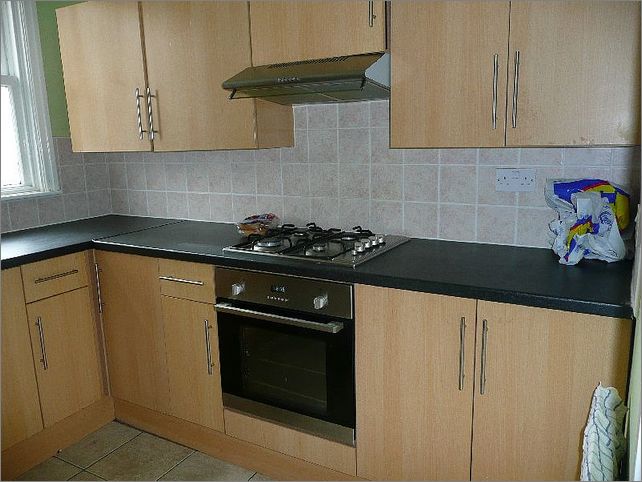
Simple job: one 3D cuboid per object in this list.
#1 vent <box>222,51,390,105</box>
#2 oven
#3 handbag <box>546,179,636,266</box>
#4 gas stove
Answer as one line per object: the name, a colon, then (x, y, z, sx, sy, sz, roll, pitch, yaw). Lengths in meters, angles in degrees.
vent: (-0.024, -0.794, 2.652, 0.821, 0.210, 0.520, 6, 15, 29)
oven: (-0.076, 0.504, 2.758, 0.788, 0.769, 0.596, 4, 10, 28)
handbag: (1.176, -0.087, 2.371, 0.357, 0.360, 0.239, 7, 16, 31)
gas stove: (-0.030, -0.011, 2.773, 0.864, 0.086, 0.610, 5, 14, 26)
